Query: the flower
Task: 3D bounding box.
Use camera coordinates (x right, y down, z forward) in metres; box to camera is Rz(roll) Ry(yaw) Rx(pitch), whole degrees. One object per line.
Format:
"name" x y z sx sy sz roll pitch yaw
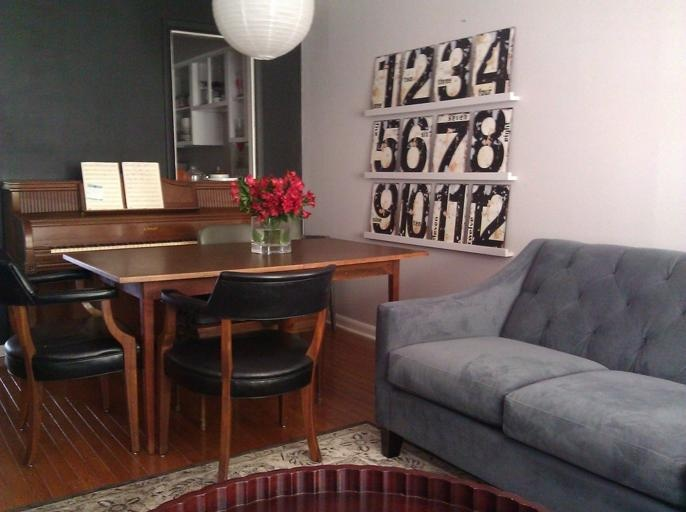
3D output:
"flower" -0.407 -0.224 3.115 0.471 0.409 0.418 5 -3 41

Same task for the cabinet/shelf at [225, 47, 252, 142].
"cabinet/shelf" -1.007 -1.575 5.102 0.253 0.838 0.243 -2 25 -6

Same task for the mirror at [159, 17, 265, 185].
"mirror" -1.206 -1.292 4.983 0.783 1.248 0.235 -2 1 19

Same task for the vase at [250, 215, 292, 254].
"vase" -0.421 -0.127 3.121 0.225 0.231 0.228 -5 9 -44
